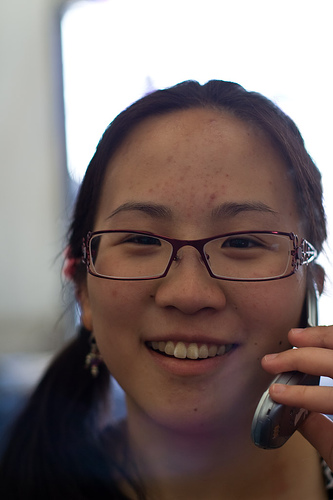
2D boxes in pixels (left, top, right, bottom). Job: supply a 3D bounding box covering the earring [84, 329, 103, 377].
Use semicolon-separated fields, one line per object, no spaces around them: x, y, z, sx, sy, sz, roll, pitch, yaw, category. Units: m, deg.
-0.211;0.297;1.324;0.047;0.124;0.099;-1;1;-21;earring
